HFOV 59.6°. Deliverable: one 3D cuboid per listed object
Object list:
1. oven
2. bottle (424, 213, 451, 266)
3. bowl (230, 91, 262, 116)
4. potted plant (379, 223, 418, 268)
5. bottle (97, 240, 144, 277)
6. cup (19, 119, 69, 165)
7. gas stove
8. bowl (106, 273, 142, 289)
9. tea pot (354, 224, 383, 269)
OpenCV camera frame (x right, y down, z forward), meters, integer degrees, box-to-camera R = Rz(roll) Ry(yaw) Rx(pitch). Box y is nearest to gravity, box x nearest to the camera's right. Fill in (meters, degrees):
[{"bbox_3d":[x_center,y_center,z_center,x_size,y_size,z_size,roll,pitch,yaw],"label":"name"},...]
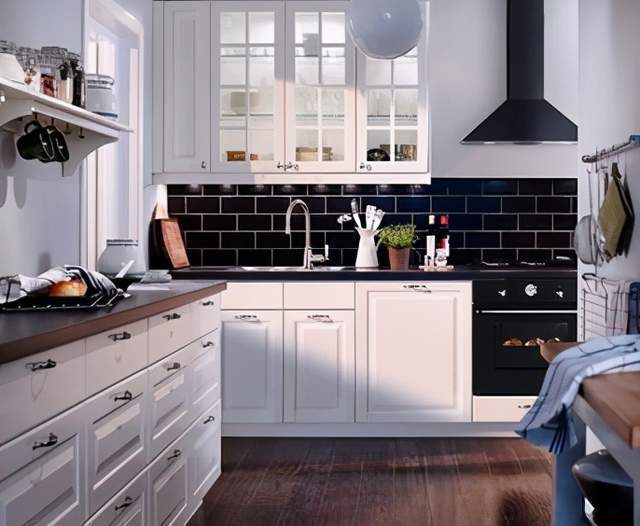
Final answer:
[{"bbox_3d":[1.148,0.497,3.358,0.626,0.658,0.442,0,-4,3],"label":"oven"},{"bbox_3d":[0.781,-0.143,3.697,0.157,0.340,0.335,0,7,14],"label":"bottle"},{"bbox_3d":[-0.481,-1.008,3.538,0.146,0.104,0.152,0,6,0],"label":"bowl"},{"bbox_3d":[0.508,-0.108,3.681,0.290,0.341,0.262,1,-8,-3],"label":"potted plant"},{"bbox_3d":[-0.849,-0.024,2.381,0.150,0.140,0.155,0,-1,40],"label":"bottle"},{"bbox_3d":[-1.033,-0.432,2.103,0.114,0.188,0.117,-5,-19,-2],"label":"cup"},{"bbox_3d":[1.232,0.117,3.362,0.590,0.218,0.518,0,7,17],"label":"gas stove"},{"bbox_3d":[-0.756,0.076,2.188,0.092,0.053,0.217,-2,7,-5],"label":"bowl"},{"bbox_3d":[0.315,-0.102,3.654,0.154,0.252,0.357,-1,7,6],"label":"tea pot"}]
